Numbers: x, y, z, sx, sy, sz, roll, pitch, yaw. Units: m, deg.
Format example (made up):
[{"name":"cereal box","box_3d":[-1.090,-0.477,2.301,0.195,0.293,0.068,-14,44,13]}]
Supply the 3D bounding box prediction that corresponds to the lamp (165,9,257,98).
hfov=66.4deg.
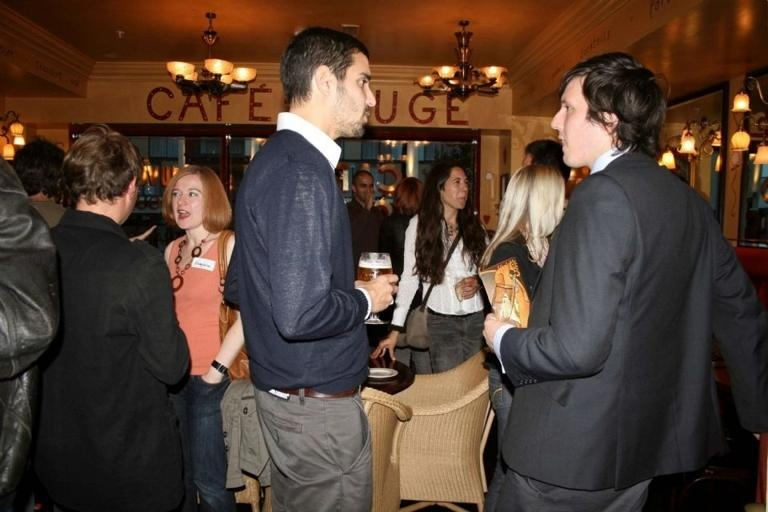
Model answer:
[{"name":"lamp","box_3d":[-2.130,-2.548,7.254,0.821,1.080,0.787,-6,-14,14]}]

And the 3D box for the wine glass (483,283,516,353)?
[{"name":"wine glass","box_3d":[0.488,0.242,2.522,0.132,0.151,0.375,-2,1,9]}]

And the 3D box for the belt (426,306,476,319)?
[{"name":"belt","box_3d":[0.487,0.412,4.149,0.351,0.065,0.053,2,4,4]}]

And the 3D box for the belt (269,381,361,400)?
[{"name":"belt","box_3d":[-0.292,0.555,2.406,0.380,0.059,0.089,2,4,-4]}]

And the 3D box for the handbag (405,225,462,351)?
[{"name":"handbag","box_3d":[0.340,0.278,4.247,0.403,0.878,0.240,2,4,2]}]

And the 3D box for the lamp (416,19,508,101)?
[{"name":"lamp","box_3d":[0.976,-2.133,7.133,1.058,0.948,1.008,-2,-12,12]}]
